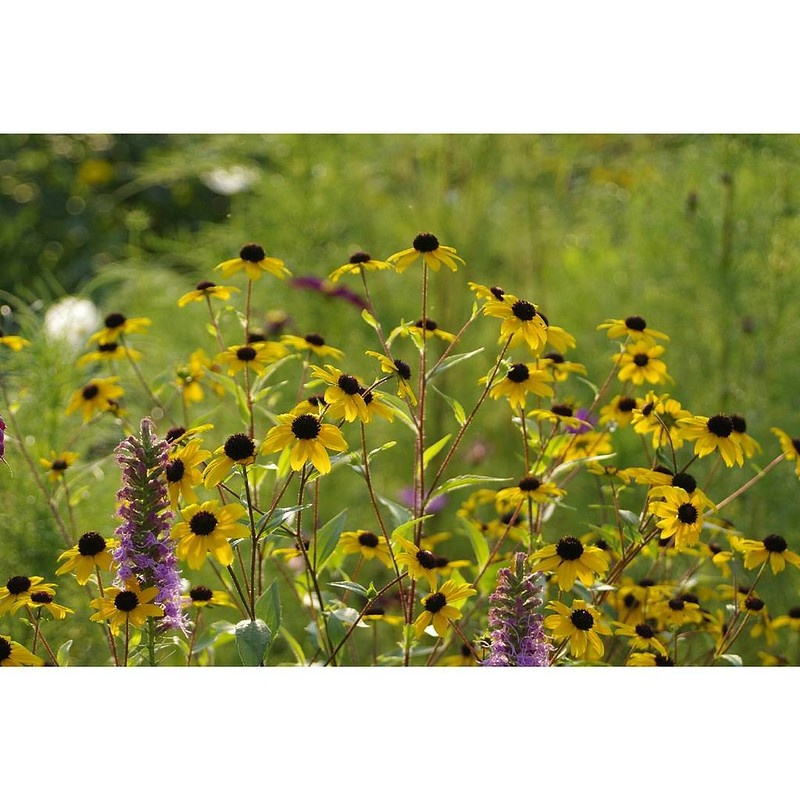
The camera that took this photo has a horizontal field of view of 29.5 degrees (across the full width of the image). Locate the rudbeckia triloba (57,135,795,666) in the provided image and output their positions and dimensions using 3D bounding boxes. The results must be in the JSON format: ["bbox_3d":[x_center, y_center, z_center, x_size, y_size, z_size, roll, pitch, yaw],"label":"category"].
[{"bbox_3d":[0.107,0.218,4.452,1.771,1.016,1.777,5,-11,0],"label":"rudbeckia triloba"}]

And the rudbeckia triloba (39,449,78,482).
[{"bbox_3d":[-0.910,0.191,4.075,0.098,0.039,0.098,-30,58,3],"label":"rudbeckia triloba"}]

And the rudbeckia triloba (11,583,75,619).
[{"bbox_3d":[-0.932,0.520,3.928,0.137,0.058,0.136,10,13,-6],"label":"rudbeckia triloba"}]
